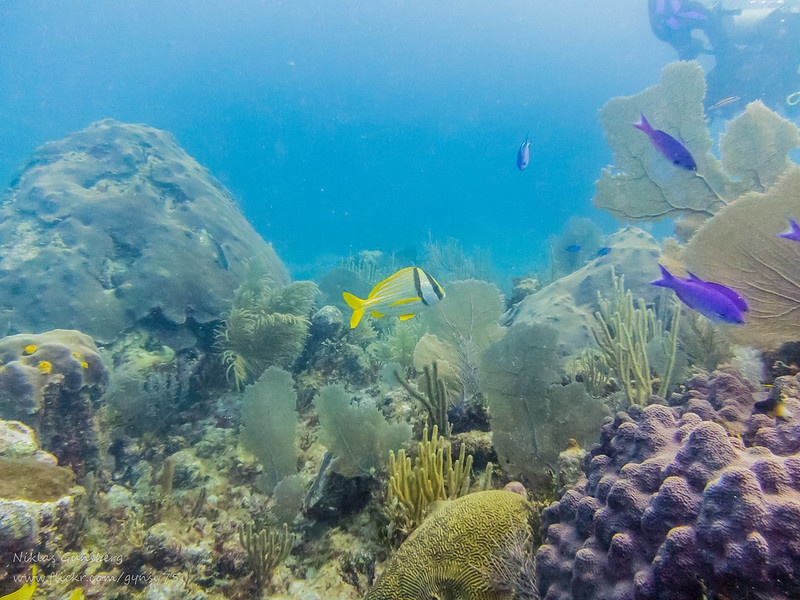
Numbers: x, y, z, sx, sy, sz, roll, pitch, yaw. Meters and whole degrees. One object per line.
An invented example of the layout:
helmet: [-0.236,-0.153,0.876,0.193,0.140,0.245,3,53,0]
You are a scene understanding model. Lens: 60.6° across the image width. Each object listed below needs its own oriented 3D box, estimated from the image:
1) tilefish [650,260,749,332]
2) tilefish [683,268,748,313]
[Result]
tilefish: [4.311,-0.067,9.793,0.217,1.357,0.586,-36,-34,-41]
tilefish: [4.498,-0.108,9.692,0.529,0.599,0.591,-3,10,-16]
